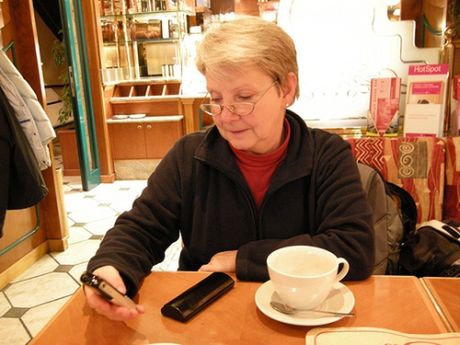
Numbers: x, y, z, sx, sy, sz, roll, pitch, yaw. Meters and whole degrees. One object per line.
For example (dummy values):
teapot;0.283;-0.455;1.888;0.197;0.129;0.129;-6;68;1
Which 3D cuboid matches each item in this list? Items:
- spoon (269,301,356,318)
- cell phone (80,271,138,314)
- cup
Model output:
spoon;0.190;0.319;0.775;0.160;0.019;0.032;5;9;4
cell phone;-0.283;0.275;0.813;0.134;0.036;0.070;31;-16;-4
cup;0.188;0.262;0.816;0.182;0.107;0.187;-5;8;1
